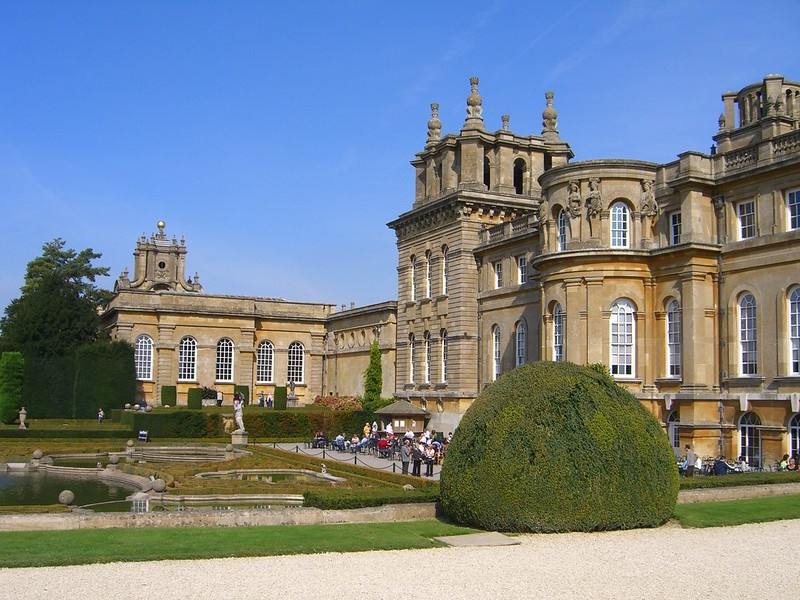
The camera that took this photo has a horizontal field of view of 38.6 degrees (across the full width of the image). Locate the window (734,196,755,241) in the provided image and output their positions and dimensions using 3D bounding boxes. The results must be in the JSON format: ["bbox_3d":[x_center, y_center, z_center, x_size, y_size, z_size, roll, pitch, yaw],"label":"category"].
[{"bbox_3d":[13.378,-3.176,44.299,0.086,2.132,1.525,6,-9,-22],"label":"window"}]

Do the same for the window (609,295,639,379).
[{"bbox_3d":[9.070,1.555,46.494,1.023,3.183,0.479,0,-11,2],"label":"window"}]

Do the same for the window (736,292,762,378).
[{"bbox_3d":[13.317,1.292,43.847,0.246,3.066,0.845,6,-12,-25],"label":"window"}]

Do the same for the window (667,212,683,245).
[{"bbox_3d":[11.014,-2.933,45.824,0.107,1.271,0.594,7,-13,-32],"label":"window"}]

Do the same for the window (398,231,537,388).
[{"bbox_3d":[3.748,0.556,61.983,7.152,10.766,7.220,7,-10,-39],"label":"window"}]

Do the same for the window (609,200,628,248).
[{"bbox_3d":[9.013,-3.130,46.962,0.820,1.777,0.439,-1,-11,6],"label":"window"}]
